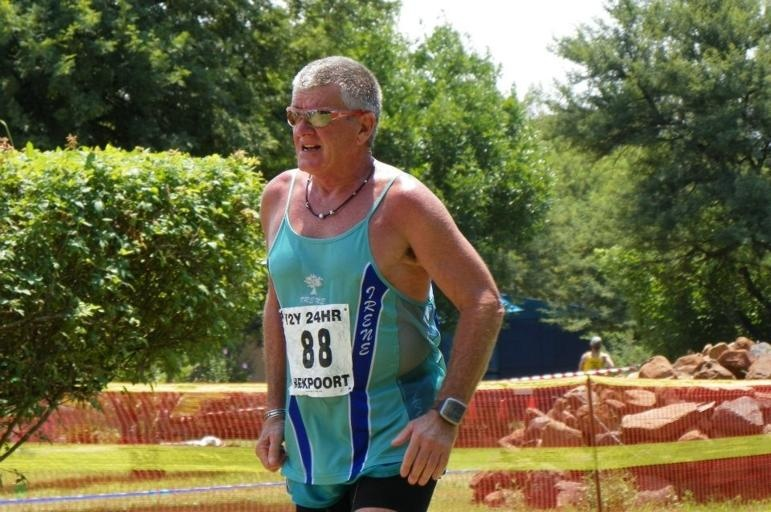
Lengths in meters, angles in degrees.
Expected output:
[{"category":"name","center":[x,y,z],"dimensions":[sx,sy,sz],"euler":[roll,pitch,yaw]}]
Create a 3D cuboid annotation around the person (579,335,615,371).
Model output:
[{"category":"person","center":[5.255,2.400,31.565],"dimensions":[0.756,0.808,2.005],"euler":[-1,-5,8]}]
